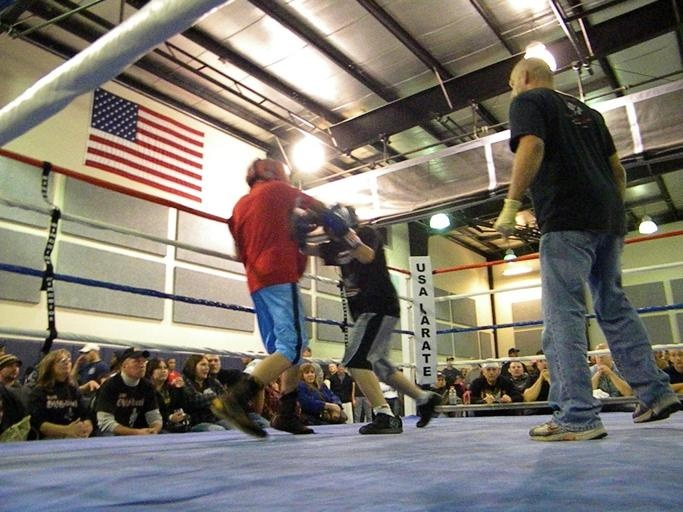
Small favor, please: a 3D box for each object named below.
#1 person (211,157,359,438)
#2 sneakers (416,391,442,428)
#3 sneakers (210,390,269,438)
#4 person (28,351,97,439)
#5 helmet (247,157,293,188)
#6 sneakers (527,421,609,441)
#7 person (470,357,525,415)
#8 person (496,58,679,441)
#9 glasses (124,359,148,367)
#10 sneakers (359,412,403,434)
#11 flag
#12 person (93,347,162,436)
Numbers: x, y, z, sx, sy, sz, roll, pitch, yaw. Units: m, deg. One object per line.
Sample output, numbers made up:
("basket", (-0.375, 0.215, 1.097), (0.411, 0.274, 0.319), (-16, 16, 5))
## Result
("person", (-0.330, 0.171, 2.475), (0.638, 1.524, 0.712), (2, -19, -13))
("sneakers", (0.488, 0.898, 2.782), (0.179, 0.113, 0.303), (-2, -57, 0))
("sneakers", (-0.454, 0.693, 2.035), (0.181, 0.211, 0.246), (-4, -16, 5))
("person", (-2.074, 1.030, 3.510), (0.439, 0.657, 0.585), (7, -19, -29))
("helmet", (-0.414, -0.464, 2.614), (0.249, 0.135, 0.191), (-8, 15, -28))
("sneakers", (0.794, 0.629, 1.722), (0.292, 0.099, 0.088), (-1, -32, 12))
("person", (1.662, 1.480, 5.284), (0.710, 0.510, 0.850), (-3, -16, -4))
("person", (0.953, -0.112, 1.994), (0.746, 1.643, 0.381), (12, -24, -37))
("glasses", (-1.551, 0.798, 3.494), (0.119, 0.042, 0.078), (-3, -7, 17))
("sneakers", (0.207, 0.896, 2.476), (0.268, 0.090, 0.086), (1, -24, -6))
("flag", (-3.007, -1.698, 7.471), (0.050, 1.316, 2.316), (2, -1, 24))
("person", (-1.601, 1.013, 3.523), (0.462, 0.630, 0.520), (1, -17, -13))
